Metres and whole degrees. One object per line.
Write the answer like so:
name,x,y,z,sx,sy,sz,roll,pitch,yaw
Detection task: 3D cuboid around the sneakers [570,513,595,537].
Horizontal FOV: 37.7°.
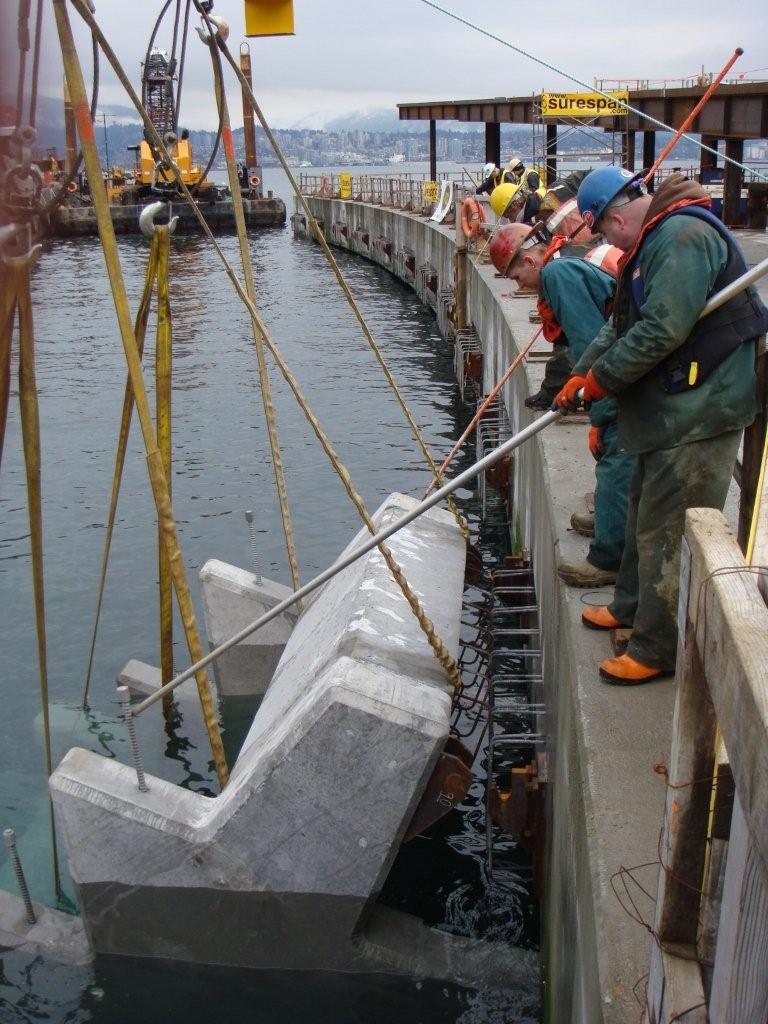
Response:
sneakers,0.996,0.072,5.585,0.157,0.107,0.054,7,33,23

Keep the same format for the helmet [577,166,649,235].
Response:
helmet,0.837,-1.186,4.210,0.246,0.142,0.179,-33,13,21

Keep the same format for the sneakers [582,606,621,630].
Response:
sneakers,0.871,0.421,4.474,0.145,0.051,0.077,9,19,14

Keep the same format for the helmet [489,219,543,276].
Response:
helmet,0.784,-1.625,7.051,0.280,0.338,0.247,25,34,10

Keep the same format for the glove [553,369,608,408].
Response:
glove,0.732,-0.446,4.156,0.165,0.057,0.160,-11,30,40

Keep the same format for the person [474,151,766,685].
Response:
person,0.980,-0.291,3.957,0.662,1.767,1.049,-1,19,-1

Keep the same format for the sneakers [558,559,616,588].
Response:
sneakers,0.894,0.277,4.954,0.224,0.085,0.104,9,10,10

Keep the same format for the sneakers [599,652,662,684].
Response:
sneakers,0.859,0.557,3.939,0.222,0.082,0.094,5,1,4
